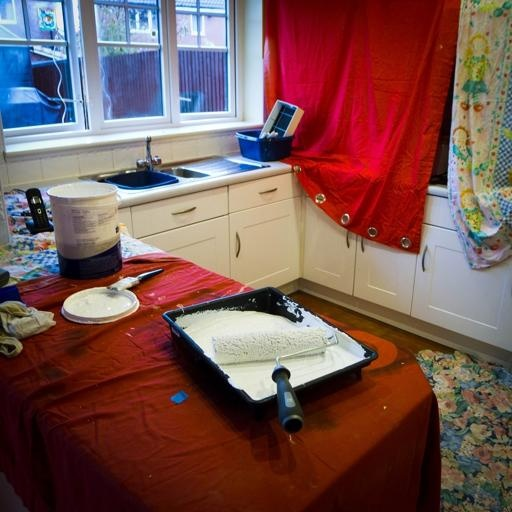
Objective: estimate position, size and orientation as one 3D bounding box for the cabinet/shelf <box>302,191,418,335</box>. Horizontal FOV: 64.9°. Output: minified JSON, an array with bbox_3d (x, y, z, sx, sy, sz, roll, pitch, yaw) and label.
[{"bbox_3d":[0.687,0.014,2.542,0.682,0.620,0.346,28,35,37],"label":"cabinet/shelf"}]

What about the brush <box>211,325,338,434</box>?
[{"bbox_3d":[0.049,0.204,0.750,0.148,0.044,0.154,-5,27,-12],"label":"brush"}]

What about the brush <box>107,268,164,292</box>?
[{"bbox_3d":[-0.355,0.054,1.190,0.042,0.027,0.191,16,21,24],"label":"brush"}]

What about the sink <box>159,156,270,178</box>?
[{"bbox_3d":[-0.276,-0.590,2.677,0.304,0.101,0.418,-21,33,-39],"label":"sink"}]

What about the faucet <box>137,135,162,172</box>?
[{"bbox_3d":[-0.662,-0.622,2.495,0.156,0.253,0.096,-14,45,-27],"label":"faucet"}]
